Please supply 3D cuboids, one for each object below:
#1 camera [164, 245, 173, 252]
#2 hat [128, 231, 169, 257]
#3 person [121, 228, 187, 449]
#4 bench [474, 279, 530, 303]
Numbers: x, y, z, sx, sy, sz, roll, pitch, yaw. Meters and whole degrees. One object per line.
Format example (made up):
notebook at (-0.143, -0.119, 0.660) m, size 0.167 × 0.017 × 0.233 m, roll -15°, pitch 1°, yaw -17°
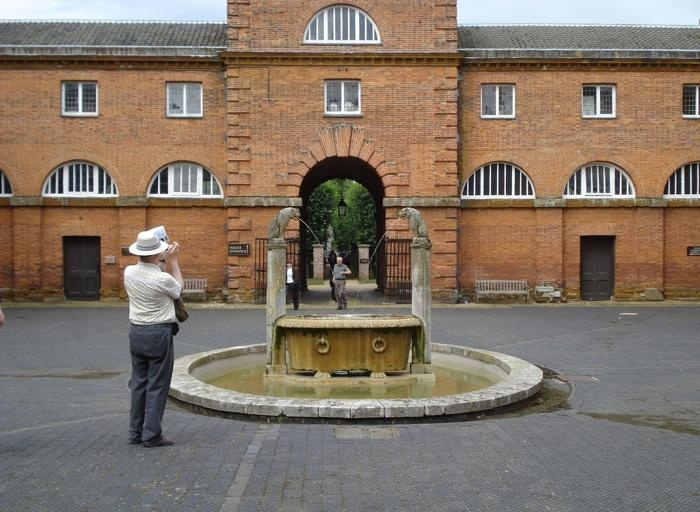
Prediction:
camera at (-3.512, -0.127, 18.518) m, size 0.126 × 0.105 × 0.203 m, roll 5°, pitch -16°, yaw -19°
hat at (-4.103, -0.216, 19.737) m, size 0.829 × 0.293 × 0.818 m, roll -1°, pitch 17°, yaw -2°
person at (-3.730, 1.575, 18.304) m, size 0.998 × 4.024 × 0.496 m, roll -1°, pitch 2°, yaw -13°
bench at (5.700, 1.322, 36.100) m, size 1.954 × 0.844 × 0.338 m, roll 0°, pitch 2°, yaw 5°
